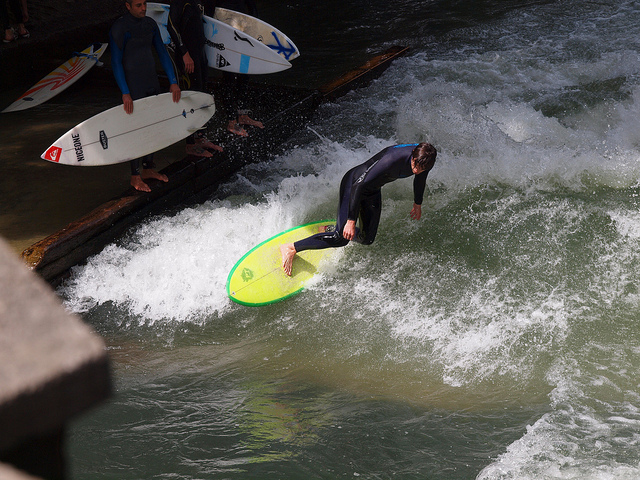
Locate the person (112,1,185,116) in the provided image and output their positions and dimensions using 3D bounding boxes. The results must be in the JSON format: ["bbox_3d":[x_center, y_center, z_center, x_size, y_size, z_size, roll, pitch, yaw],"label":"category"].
[{"bbox_3d":[-1.844,-1.865,7.213,0.252,1.197,0.719,22,47,29],"label":"person"}]

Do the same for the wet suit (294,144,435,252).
[{"bbox_3d":[0.514,-0.408,7.651,0.647,1.552,0.718,49,43,13],"label":"wet suit"}]
